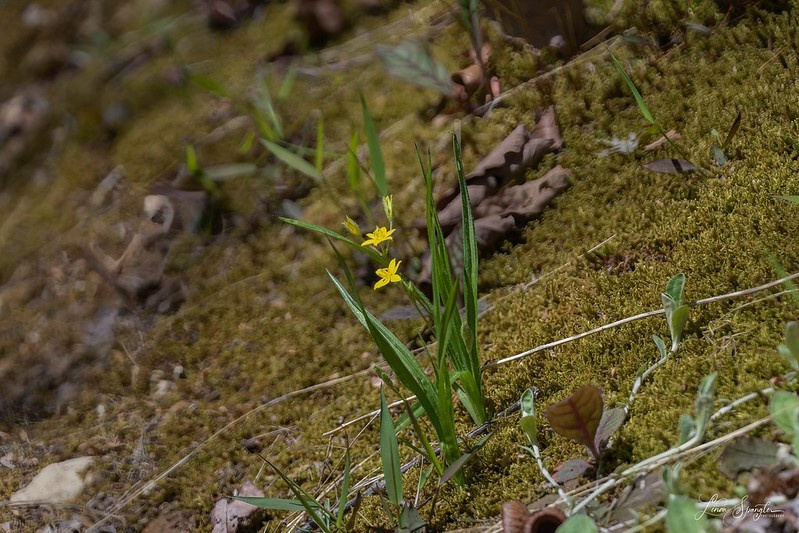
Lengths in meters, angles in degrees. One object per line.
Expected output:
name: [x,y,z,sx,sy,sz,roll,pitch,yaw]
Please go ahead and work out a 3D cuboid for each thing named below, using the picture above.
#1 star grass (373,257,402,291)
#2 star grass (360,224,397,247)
star grass: [-0.046,0.061,3.799,0.153,0.077,0.161,-37,41,34]
star grass: [-0.108,-0.114,3.819,0.130,0.087,0.123,-44,22,-29]
